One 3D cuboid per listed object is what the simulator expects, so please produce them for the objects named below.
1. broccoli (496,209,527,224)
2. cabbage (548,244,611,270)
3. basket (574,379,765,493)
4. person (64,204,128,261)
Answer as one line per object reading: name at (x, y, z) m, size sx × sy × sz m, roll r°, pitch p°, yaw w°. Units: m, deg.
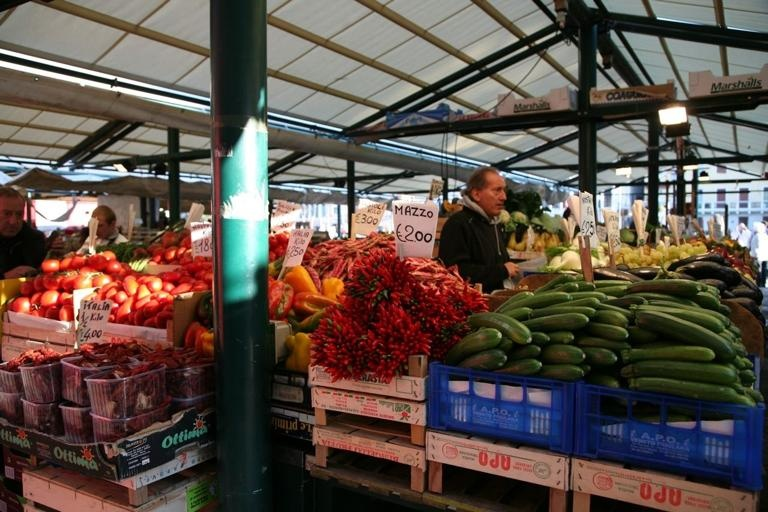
broccoli at (1.750, -0.555, 7.844) m, size 0.431 × 0.305 × 0.173 m, roll 5°, pitch 26°, yaw 6°
cabbage at (1.898, 0.041, 5.795) m, size 0.397 × 0.219 × 0.429 m, roll -3°, pitch 2°, yaw -7°
basket at (1.378, 0.874, 2.806) m, size 0.832 × 0.463 × 0.122 m, roll 0°, pitch 1°, yaw 17°
person at (-3.326, -0.407, 6.968) m, size 1.004 × 0.761 × 0.637 m, roll -1°, pitch -8°, yaw 1°
